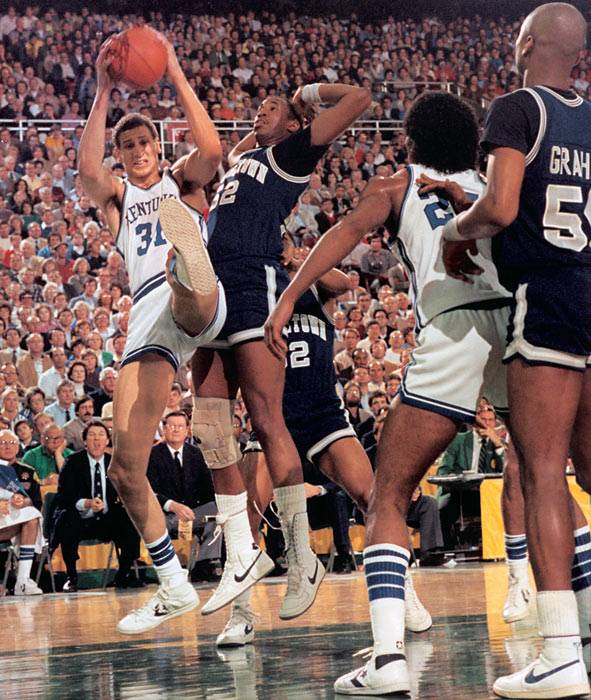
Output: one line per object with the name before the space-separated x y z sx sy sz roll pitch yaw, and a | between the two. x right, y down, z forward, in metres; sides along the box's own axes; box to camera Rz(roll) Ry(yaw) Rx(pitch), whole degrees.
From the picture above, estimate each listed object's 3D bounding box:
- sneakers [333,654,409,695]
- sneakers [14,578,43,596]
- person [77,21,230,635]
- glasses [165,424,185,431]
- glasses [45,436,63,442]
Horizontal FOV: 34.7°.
sneakers | 0.210 0.937 2.727 0.235 0.117 0.065 -13 -12 37
sneakers | -2.085 1.850 7.353 0.237 0.111 0.110 -1 -4 7
person | -0.520 -0.127 3.815 0.531 2.482 0.800 1 -14 -34
glasses | -0.984 0.629 7.714 0.078 0.047 0.090 1 -12 -2
glasses | -2.078 0.758 8.107 0.131 0.055 0.060 -2 -11 -15
